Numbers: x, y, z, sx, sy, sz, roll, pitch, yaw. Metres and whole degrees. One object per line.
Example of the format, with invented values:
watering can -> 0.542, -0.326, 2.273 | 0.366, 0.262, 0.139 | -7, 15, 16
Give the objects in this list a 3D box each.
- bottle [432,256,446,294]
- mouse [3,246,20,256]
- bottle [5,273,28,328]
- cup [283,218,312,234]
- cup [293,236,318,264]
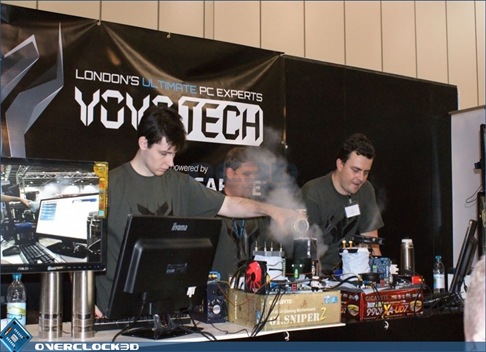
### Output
bottle -> 1.555, 0.782, 4.839 | 0.080, 0.275, 0.468 | 0, -6, 16
mouse -> -1.361, 0.441, 3.563 | 0.075, 0.053, 0.019 | -6, 10, -20
bottle -> -1.399, 0.761, 3.751 | 0.111, 0.313, 0.174 | 4, -6, -22
cup -> 0.400, 0.360, 4.418 | 0.102, 0.117, 0.113 | 0, -14, 13
cup -> 0.418, 0.512, 4.173 | 0.147, 0.160, 0.173 | -1, -5, -1
